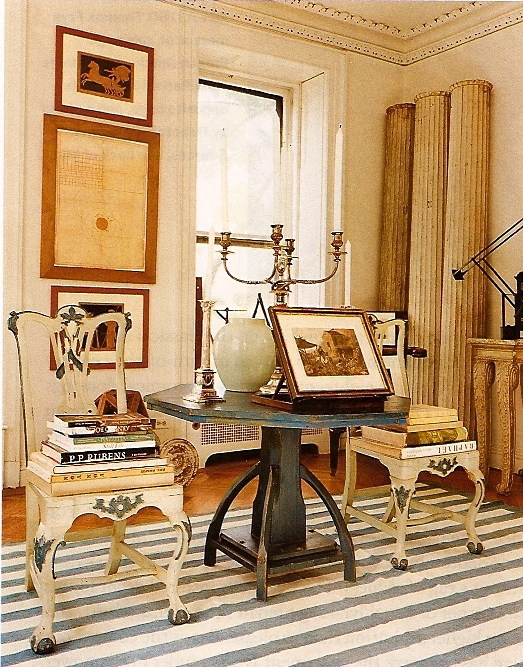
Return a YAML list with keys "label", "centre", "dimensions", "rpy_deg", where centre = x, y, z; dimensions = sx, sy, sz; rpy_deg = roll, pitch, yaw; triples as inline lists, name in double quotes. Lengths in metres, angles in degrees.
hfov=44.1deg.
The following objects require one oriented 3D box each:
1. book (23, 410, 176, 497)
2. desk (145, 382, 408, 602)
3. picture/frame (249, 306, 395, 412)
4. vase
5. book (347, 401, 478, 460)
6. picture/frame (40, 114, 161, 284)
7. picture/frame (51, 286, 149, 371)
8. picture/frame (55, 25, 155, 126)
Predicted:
- label: "book"
  centre: [-0.509, 0.357, 2.012]
  dimensions: [0.385, 0.207, 0.338]
  rpy_deg: [1, 0, -30]
- label: "desk"
  centre: [-0.009, 0.580, 2.206]
  dimensions: [0.809, 0.544, 0.776]
  rpy_deg: [-2, 3, -39]
- label: "picture/frame"
  centre: [0.214, 0.084, 2.162]
  dimensions: [0.474, 0.378, 0.345]
  rpy_deg: [1, -1, -28]
- label: "vase"
  centre: [-0.057, 0.073, 2.317]
  dimensions: [0.233, 0.252, 0.232]
  rpy_deg: [0, 0, 18]
- label: "book"
  centre: [0.652, 0.399, 2.658]
  dimensions: [0.283, 0.102, 0.285]
  rpy_deg: [-3, 3, -27]
- label: "picture/frame"
  centre: [-0.930, -0.767, 3.752]
  dimensions: [0.692, 0.868, 0.035]
  rpy_deg: [2, -1, -35]
- label: "picture/frame"
  centre: [-0.810, -0.039, 3.185]
  dimensions: [0.560, 0.449, 0.041]
  rpy_deg: [0, -1, -31]
- label: "picture/frame"
  centre: [-0.937, -1.502, 3.747]
  dimensions: [0.763, 0.561, 0.054]
  rpy_deg: [1, 0, -31]
